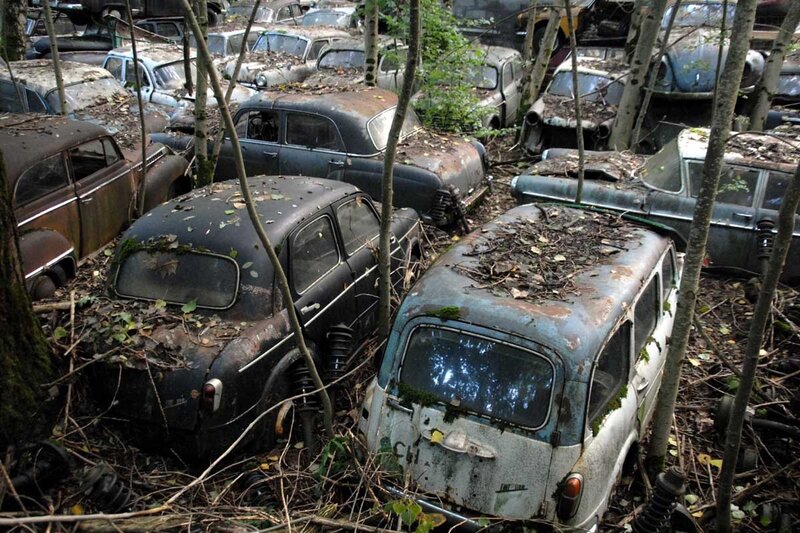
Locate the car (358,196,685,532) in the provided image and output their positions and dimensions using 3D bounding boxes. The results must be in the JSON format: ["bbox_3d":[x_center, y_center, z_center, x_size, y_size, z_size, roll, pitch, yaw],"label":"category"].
[{"bbox_3d":[1.389,0.973,6.369,2.288,2.108,3.126,24,31,38],"label":"car"}]
